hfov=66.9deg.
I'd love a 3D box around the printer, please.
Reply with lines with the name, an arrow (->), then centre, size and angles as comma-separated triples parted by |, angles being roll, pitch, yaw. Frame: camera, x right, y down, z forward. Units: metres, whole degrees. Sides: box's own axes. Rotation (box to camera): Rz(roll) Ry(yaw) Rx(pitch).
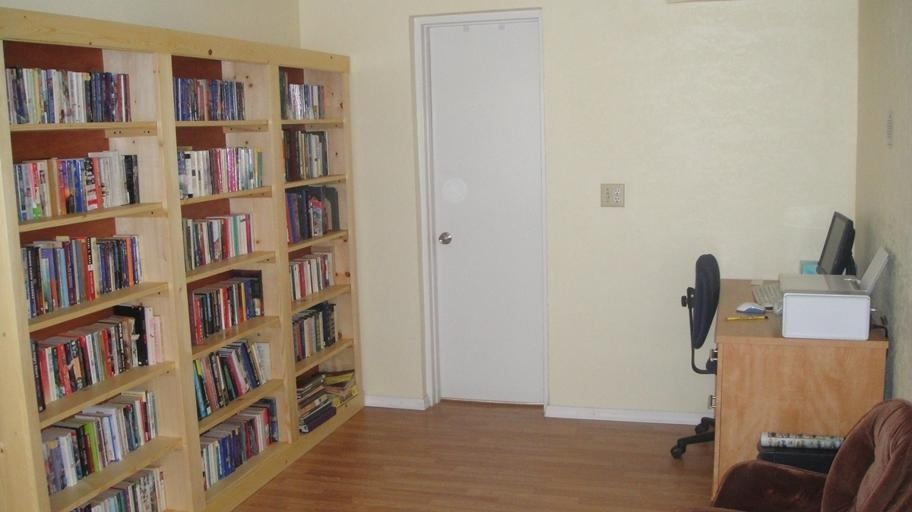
printer -> 2.374, 0.234, 4.338 | 0.618, 0.502, 0.521 | 4, 11, 17

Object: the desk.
desk -> 2.342, 0.738, 4.791 | 1.084, 1.166, 1.737 | 0, 8, 14

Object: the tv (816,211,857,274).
tv -> 2.706, -0.098, 4.889 | 0.216, 0.355, 0.425 | 21, 12, 5

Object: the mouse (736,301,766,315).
mouse -> 1.976, 0.351, 4.625 | 0.141, 0.036, 0.089 | -1, 18, 3
